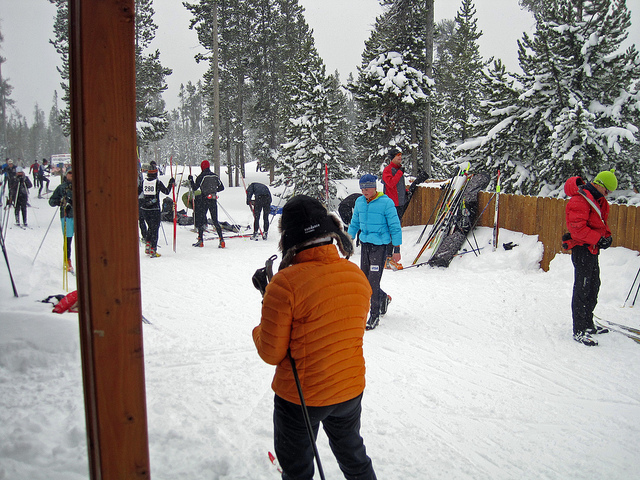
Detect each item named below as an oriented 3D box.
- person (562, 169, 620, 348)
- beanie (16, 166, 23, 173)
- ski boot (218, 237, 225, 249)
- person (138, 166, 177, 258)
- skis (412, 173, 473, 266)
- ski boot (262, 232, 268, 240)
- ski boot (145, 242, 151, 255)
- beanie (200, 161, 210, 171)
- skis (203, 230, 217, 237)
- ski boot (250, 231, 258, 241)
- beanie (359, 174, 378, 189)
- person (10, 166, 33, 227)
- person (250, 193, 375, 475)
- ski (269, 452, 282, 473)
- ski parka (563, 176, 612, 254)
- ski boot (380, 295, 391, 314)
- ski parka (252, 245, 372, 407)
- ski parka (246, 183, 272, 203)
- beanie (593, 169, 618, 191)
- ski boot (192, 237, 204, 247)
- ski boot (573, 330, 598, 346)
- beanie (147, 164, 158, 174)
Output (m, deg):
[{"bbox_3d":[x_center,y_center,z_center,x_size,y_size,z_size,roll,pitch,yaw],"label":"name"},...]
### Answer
[{"bbox_3d":[3.932,0.275,7.798,0.725,2.515,0.552,0,4,-23],"label":"person"},{"bbox_3d":[-8.624,-2.027,15.304,0.104,0.120,0.116,0,-4,-1],"label":"beanie"},{"bbox_3d":[-2.552,0.075,13.849,0.208,0.399,0.178,-3,6,-14],"label":"ski boot"},{"bbox_3d":[-3.915,-0.669,12.632,0.577,2.148,0.837,2,4,6],"label":"person"},{"bbox_3d":[2.955,-0.440,12.800,0.218,2.711,0.268,41,-19,-29],"label":"skis"},{"bbox_3d":[-1.583,-0.112,15.311,0.116,0.209,0.109,-2,2,-32],"label":"ski boot"},{"bbox_3d":[-4.079,0.208,12.651,0.088,0.311,0.388,0,4,-24],"label":"ski boot"},{"bbox_3d":[-2.972,-1.927,13.800,0.161,0.259,0.226,-3,16,-20],"label":"beanie"},{"bbox_3d":[-3.349,-0.194,16.203,0.090,0.063,0.677,29,-4,-26],"label":"skis"},{"bbox_3d":[-1.866,-0.126,15.206,0.112,0.241,0.287,-1,17,-16],"label":"ski boot"},{"bbox_3d":[0.745,-0.923,8.383,0.259,0.211,0.343,2,3,4],"label":"beanie"},{"bbox_3d":[-8.748,-1.276,15.643,0.479,1.716,2.699,-1,4,-29],"label":"person"},{"bbox_3d":[-0.041,0.863,4.762,1.008,2.499,0.310,0,4,-14],"label":"person"},{"bbox_3d":[-0.482,2.272,5.540,0.083,0.089,0.435,1,1,-21],"label":"ski"},{"bbox_3d":[3.857,-0.363,7.742,0.584,1.112,0.446,0,4,-14],"label":"ski parka"},{"bbox_3d":[1.065,1.055,8.589,0.097,0.346,0.131,13,0,37],"label":"ski boot"},{"bbox_3d":[-0.048,0.753,4.728,0.993,1.416,0.224,1,4,-8],"label":"ski parka"},{"bbox_3d":[-1.687,-1.294,14.653,0.726,0.463,0.818,-3,45,-10],"label":"ski parka"},{"bbox_3d":[4.151,-0.879,7.758,0.240,0.307,0.320,-18,59,-45],"label":"beanie"},{"bbox_3d":[-3.250,0.053,14.240,0.296,0.250,0.350,1,4,-15],"label":"ski boot"},{"bbox_3d":[3.849,1.439,7.764,0.124,0.193,0.359,-4,6,-31],"label":"ski boot"},{"bbox_3d":[-3.933,-1.660,12.566,0.217,0.245,0.229,4,8,36],"label":"beanie"}]
